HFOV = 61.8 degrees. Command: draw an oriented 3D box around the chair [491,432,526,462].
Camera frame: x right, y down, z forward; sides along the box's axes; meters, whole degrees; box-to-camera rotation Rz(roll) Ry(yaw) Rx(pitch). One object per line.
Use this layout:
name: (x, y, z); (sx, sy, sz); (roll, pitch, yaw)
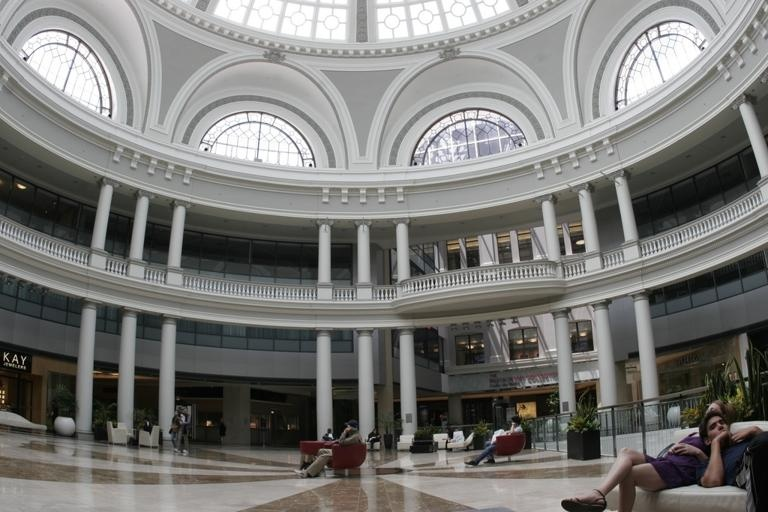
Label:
chair: (4.041, 6.231, 21.034); (0.904, 0.728, 0.901); (7, -20, -24)

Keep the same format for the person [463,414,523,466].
person: (3.595, 6.157, 21.325); (2.053, 1.335, 0.940); (-5, -12, 3)

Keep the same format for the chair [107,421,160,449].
chair: (-10.810, 7.627, 27.551); (2.136, 1.145, 1.748); (7, -23, -22)

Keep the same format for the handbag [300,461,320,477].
handbag: (-2.115, 6.222, 18.776); (0.613, 0.391, 0.331); (0, -21, -5)

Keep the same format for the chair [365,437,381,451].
chair: (-0.520, 9.118, 31.306); (0.567, 0.630, 1.038); (0, -21, -5)

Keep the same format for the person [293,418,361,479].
person: (-1.407, 5.989, 19.309); (0.896, 0.960, 1.532); (-14, -34, 32)

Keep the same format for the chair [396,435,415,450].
chair: (1.025, 8.997, 31.218); (0.916, 0.856, 0.879); (-2, -24, 6)

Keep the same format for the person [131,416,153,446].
person: (-10.869, 7.816, 28.698); (1.086, 1.253, 0.879); (-12, -20, 27)
